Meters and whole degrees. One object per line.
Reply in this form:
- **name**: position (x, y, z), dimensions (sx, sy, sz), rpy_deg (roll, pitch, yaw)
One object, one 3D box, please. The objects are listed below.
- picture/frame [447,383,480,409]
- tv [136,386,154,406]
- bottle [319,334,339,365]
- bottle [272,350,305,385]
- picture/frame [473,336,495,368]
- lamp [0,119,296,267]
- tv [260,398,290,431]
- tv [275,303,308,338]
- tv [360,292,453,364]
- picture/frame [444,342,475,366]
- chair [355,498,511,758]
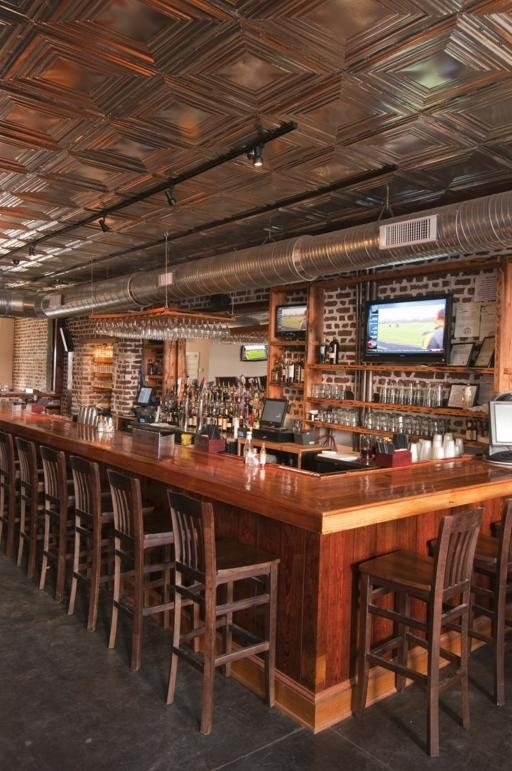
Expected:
- **picture/frame**: position (1.633, 0.081, 4.428), dimensions (0.073, 0.183, 0.190), rpy_deg (11, -6, -30)
- **tv**: position (-1.714, 0.160, 8.817), dimensions (0.096, 0.255, 0.264), rpy_deg (10, -14, -38)
- **bottle**: position (0.745, -0.337, 5.611), dimensions (0.159, 0.252, 0.319), rpy_deg (2, 0, -16)
- **bottle**: position (0.346, -0.180, 6.004), dimensions (0.173, 0.334, 0.337), rpy_deg (-2, 5, -36)
- **picture/frame**: position (1.710, -0.255, 4.241), dimensions (0.132, 0.242, 0.297), rpy_deg (2, 0, 21)
- **lamp**: position (-1.136, -1.425, 4.692), dimensions (0.205, 0.296, 4.342), rpy_deg (2, 0, -38)
- **tv**: position (0.178, 0.273, 5.391), dimensions (0.110, 0.302, 0.303), rpy_deg (8, -6, -36)
- **tv**: position (0.380, -0.670, 5.890), dimensions (0.040, 0.286, 0.390), rpy_deg (1, 1, -38)
- **tv**: position (1.310, -0.483, 4.821), dimensions (0.072, 0.477, 0.661), rpy_deg (5, -3, -39)
- **picture/frame**: position (1.625, -0.248, 4.471), dimensions (0.047, 0.186, 0.196), rpy_deg (22, -8, -33)
- **chair**: position (0.835, 0.988, 2.594), dimensions (0.457, 1.069, 0.928), rpy_deg (2, 0, 44)
